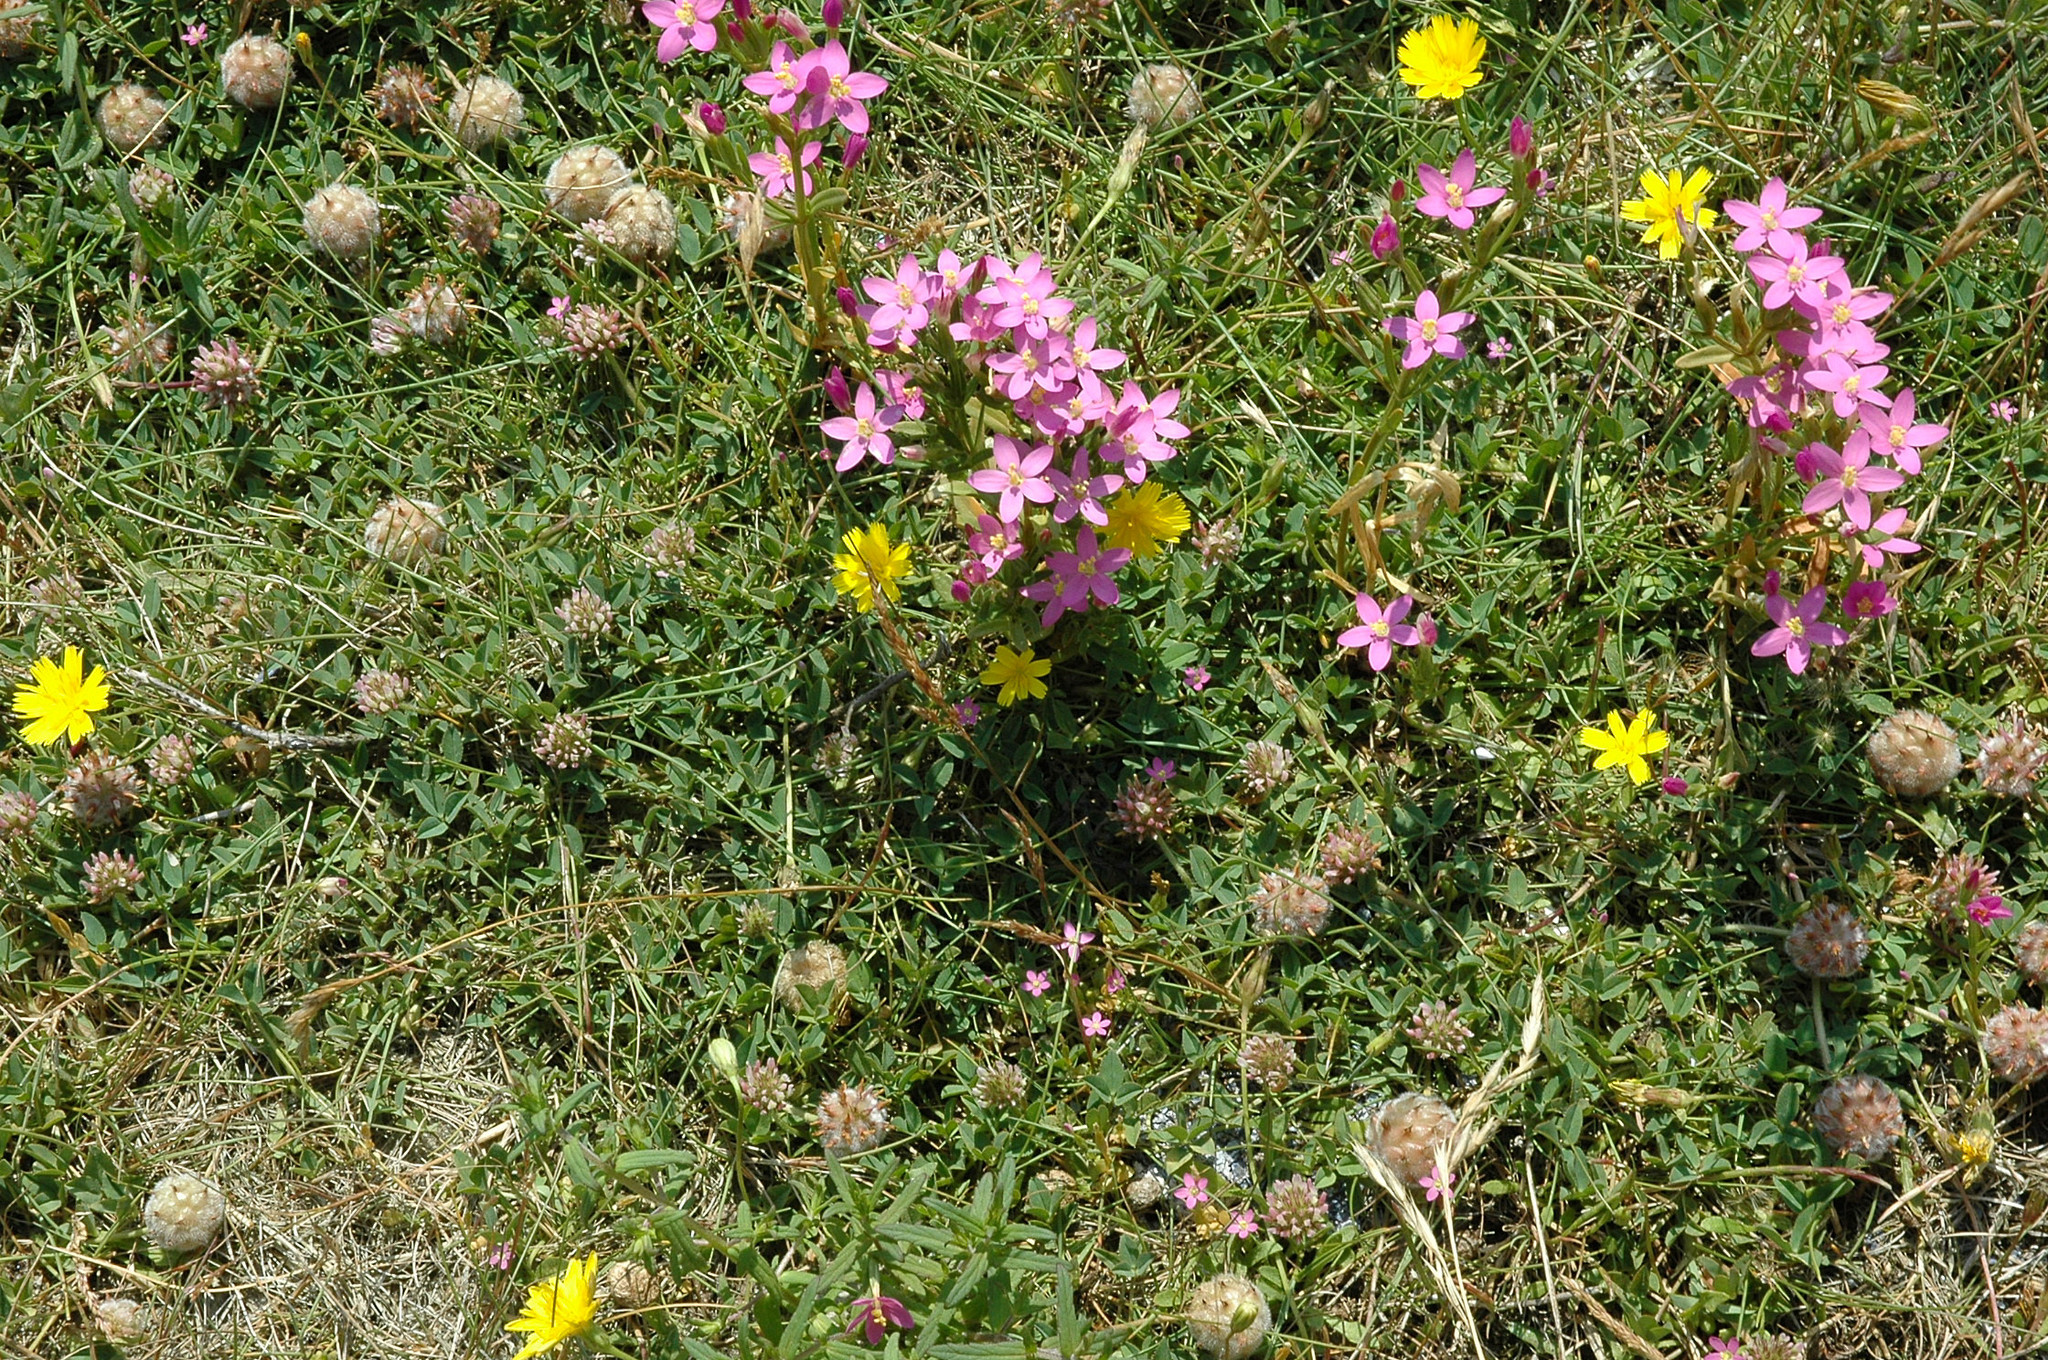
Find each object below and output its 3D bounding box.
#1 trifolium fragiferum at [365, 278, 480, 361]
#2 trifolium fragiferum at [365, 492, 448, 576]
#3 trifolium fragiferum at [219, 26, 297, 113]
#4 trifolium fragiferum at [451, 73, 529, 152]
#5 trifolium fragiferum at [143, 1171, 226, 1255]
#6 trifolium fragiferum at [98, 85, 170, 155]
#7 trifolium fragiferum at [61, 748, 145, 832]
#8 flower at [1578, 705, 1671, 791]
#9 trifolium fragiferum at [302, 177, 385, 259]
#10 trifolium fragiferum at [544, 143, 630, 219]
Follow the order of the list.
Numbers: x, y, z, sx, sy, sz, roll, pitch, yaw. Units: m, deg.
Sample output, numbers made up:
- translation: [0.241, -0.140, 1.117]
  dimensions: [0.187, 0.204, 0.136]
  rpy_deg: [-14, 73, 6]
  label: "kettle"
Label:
- translation: [-1.518, -0.906, 4.903]
  dimensions: [0.240, 0.144, 0.150]
  rpy_deg: [-17, 34, -1]
  label: "trifolium fragiferum"
- translation: [-1.530, -0.361, 4.763]
  dimensions: [0.200, 0.056, 0.160]
  rpy_deg: [24, 84, 4]
  label: "trifolium fragiferum"
- translation: [-1.991, -1.582, 5.015]
  dimensions: [0.152, 0.180, 0.175]
  rpy_deg: [1, 97, 13]
  label: "trifolium fragiferum"
- translation: [-1.394, -1.468, 4.989]
  dimensions: [0.170, 0.177, 0.192]
  rpy_deg: [3, 91, 32]
  label: "trifolium fragiferum"
- translation: [-1.939, 1.230, 4.459]
  dimensions: [0.168, 0.076, 0.184]
  rpy_deg: [2, 83, 2]
  label: "trifolium fragiferum"
- translation: [-2.330, -1.466, 5.040]
  dimensions: [0.163, 0.146, 0.167]
  rpy_deg: [-6, 76, 35]
  label: "trifolium fragiferum"
- translation: [-2.203, 0.257, 4.694]
  dimensions: [0.156, 0.172, 0.182]
  rpy_deg: [-1, 103, 7]
  label: "trifolium fragiferum"
- translation: [1.355, 0.163, 4.427]
  dimensions: [0.185, 0.296, 0.171]
  rpy_deg: [-13, 82, 1]
  label: "flower"
- translation: [-1.733, -1.169, 4.917]
  dimensions: [0.171, 0.177, 0.190]
  rpy_deg: [-3, 97, -17]
  label: "trifolium fragiferum"
- translation: [-1.118, -1.270, 5.020]
  dimensions: [0.185, 0.175, 0.178]
  rpy_deg: [-22, 55, -10]
  label: "trifolium fragiferum"
